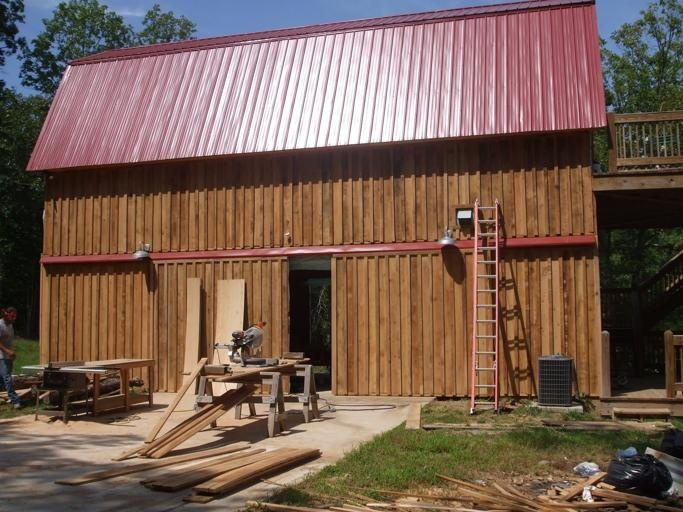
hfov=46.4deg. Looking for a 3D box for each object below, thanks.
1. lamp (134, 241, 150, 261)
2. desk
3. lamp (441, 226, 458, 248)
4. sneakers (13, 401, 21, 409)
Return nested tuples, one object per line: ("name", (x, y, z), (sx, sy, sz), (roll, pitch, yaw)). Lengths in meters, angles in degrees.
("lamp", (-5.407, -0.142, 21.580), (0.472, 0.462, 0.475), (-2, -9, 5))
("desk", (-5.454, 3.153, 19.292), (0.881, 1.215, 1.886), (-5, -6, 25))
("lamp", (2.624, -0.506, 19.702), (0.349, 0.504, 0.617), (-3, -9, 12))
("sneakers", (-7.761, 3.603, 19.218), (0.168, 0.205, 0.190), (11, -23, -40))
